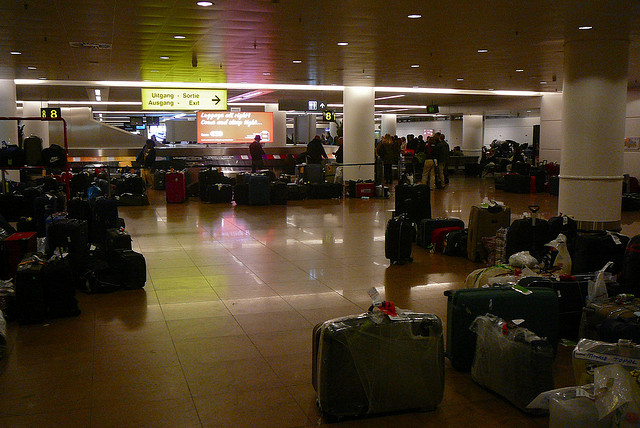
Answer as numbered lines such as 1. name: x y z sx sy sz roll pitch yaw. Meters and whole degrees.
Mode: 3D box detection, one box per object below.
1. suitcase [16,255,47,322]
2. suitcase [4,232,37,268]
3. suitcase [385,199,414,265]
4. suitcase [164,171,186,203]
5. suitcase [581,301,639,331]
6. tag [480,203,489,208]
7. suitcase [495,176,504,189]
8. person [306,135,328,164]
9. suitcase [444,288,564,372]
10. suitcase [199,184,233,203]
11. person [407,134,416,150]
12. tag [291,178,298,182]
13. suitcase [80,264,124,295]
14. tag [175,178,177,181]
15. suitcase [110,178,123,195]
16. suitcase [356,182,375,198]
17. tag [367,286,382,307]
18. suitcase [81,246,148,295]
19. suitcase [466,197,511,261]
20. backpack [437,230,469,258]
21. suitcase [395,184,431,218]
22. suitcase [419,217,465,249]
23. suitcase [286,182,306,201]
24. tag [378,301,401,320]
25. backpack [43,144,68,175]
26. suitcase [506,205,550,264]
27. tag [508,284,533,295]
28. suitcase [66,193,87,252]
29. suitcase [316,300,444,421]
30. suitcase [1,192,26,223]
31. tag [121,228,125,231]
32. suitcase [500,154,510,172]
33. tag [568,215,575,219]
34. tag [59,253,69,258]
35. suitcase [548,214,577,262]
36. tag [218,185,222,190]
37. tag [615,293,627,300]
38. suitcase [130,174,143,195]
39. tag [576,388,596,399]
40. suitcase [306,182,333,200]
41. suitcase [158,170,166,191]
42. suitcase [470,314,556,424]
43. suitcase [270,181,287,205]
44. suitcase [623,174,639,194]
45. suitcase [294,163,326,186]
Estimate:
1. suitcase: -3.407 0.850 5.603 0.307 0.696 0.805 4 10 -27
2. suitcase: -3.845 0.468 6.077 0.236 0.282 0.404 0 11 -19
3. suitcase: 1.318 0.270 7.768 0.550 1.044 0.474 2 4 16
4. suitcase: -4.446 -0.739 14.574 0.649 0.913 0.576 -2 -12 -21
5. suitcase: 2.576 0.892 4.163 0.318 0.088 0.314 2 5 35
6. tag: 2.737 -0.156 7.884 0.111 0.054 0.161 -1 2 2
7. suitcase: 7.006 -1.249 18.398 0.206 0.488 0.403 -4 7 -26
8. person: -0.165 -2.307 16.933 0.629 0.928 0.870 2 11 9
9. suitcase: 1.898 1.084 4.511 1.380 0.813 0.433 -4 4 -5
10. suitcase: -3.211 -0.629 14.606 1.113 0.729 0.570 0 -1 -13
11. person: 4.005 -3.161 20.657 0.252 0.626 0.887 5 11 23
12. tag: -1.144 -1.549 20.725 0.235 0.203 0.115 -1 -3 -2
13. suitcase: -2.991 0.838 6.359 0.474 0.172 0.389 9 10 40
14. tag: -4.344 -1.061 14.275 0.074 0.114 0.065 0 17 -7
15. suitcase: -6.245 -0.861 14.551 0.342 0.446 0.727 -3 7 -22
16. suitcase: 1.488 -0.804 15.853 0.855 0.538 0.459 0 2 -7
17. tag: 0.455 0.655 3.869 0.103 0.166 0.225 0 6 6
18. suitcase: -2.954 0.727 6.613 0.850 0.499 0.609 5 9 2
19. suitcase: 2.749 0.237 7.849 0.523 1.004 0.718 5 9 43
20. backpack: 2.284 0.496 8.160 0.460 0.349 0.544 -2 6 -14
21. suitcase: 1.926 -0.265 9.395 0.807 0.701 0.487 1 8 29
22. suitcase: 2.170 0.348 8.462 0.593 0.375 0.180 -2 5 -16
23. suitcase: -0.792 -0.726 15.195 0.911 0.571 0.495 -1 1 -22
24. tag: 0.558 0.769 3.802 0.118 0.054 0.140 2 11 -12
25. backpack: -4.605 -0.958 8.229 0.389 0.499 0.308 -9 3 -37
26. suitcase: 3.089 0.338 6.968 0.648 0.678 0.179 -1 7 -2
27. tag: 1.853 0.689 4.361 0.057 0.015 0.202 -6 10 -7
28. suitcase: -3.305 0.077 6.337 0.310 0.726 0.272 2 12 -10
29. suitcase: 0.479 1.186 3.715 0.946 0.731 0.423 -2 10 -8
30. suitcase: -5.574 -0.122 8.639 0.444 0.519 0.277 3 8 28
31. tag: -3.442 0.253 8.244 0.043 0.038 0.010 -2 -11 11
32. suitcase: 8.819 -2.368 22.704 0.589 0.926 0.560 1 5 11
33. tag: 4.310 0.038 8.139 0.084 0.056 0.079 0 0 0
34. tag: -3.114 0.489 5.737 0.070 0.018 0.058 -7 -28 -26
35. suitcase: 3.609 0.315 7.072 0.386 0.553 0.809 2 7 26
36. tag: -3.057 -0.835 14.357 0.102 0.122 0.104 -4 0 43
37. tag: 2.820 0.768 4.435 0.058 0.055 0.092 -7 -4 29
38. suitcase: -5.519 -0.876 14.235 0.351 0.514 0.554 -3 7 -21
39. tag: 1.846 1.239 3.285 0.053 0.020 0.092 -7 8 -30
40. suitcase: -0.032 -0.773 15.443 1.015 0.498 0.638 -1 11 -3
41. suitcase: -6.142 -1.317 18.312 0.246 0.720 0.370 -4 8 -27
42. suitcase: 1.542 1.281 3.848 0.284 0.520 0.692 -5 12 -29
43. suitcase: -1.250 -0.647 14.149 0.492 0.663 0.299 -2 7 -9
44. suitcase: 10.190 -1.027 15.419 0.334 0.609 1.663 4 8 35
45. suitcase: -0.313 -1.361 15.993 1.019 0.581 0.521 -4 2 -17
